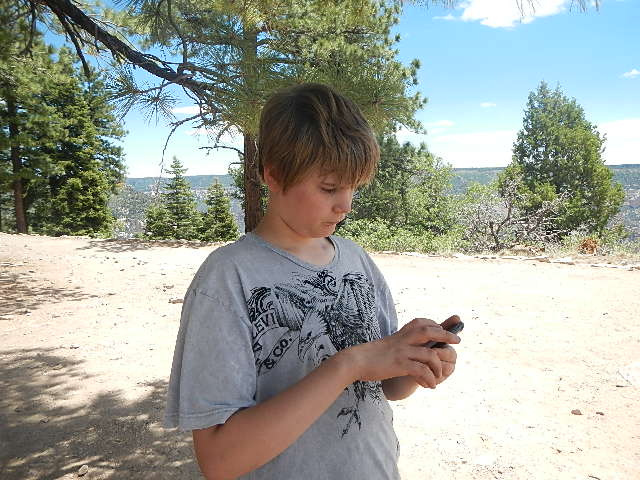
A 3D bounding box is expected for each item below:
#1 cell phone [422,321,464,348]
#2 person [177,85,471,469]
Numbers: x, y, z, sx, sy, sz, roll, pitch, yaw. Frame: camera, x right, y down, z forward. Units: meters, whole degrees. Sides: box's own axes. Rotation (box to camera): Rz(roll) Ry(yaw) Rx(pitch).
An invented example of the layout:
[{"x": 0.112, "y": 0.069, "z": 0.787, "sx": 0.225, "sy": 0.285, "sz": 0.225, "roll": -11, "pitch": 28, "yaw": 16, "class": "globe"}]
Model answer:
[{"x": 0.752, "y": 0.563, "z": 2.889, "sx": 0.237, "sy": 0.056, "sz": 0.140, "roll": -17, "pitch": -1, "yaw": -35, "class": "cell phone"}, {"x": -0.097, "y": 0.265, "z": 2.769, "sx": 1.465, "sy": 2.297, "sz": 0.793, "roll": -4, "pitch": 12, "yaw": -17, "class": "person"}]
